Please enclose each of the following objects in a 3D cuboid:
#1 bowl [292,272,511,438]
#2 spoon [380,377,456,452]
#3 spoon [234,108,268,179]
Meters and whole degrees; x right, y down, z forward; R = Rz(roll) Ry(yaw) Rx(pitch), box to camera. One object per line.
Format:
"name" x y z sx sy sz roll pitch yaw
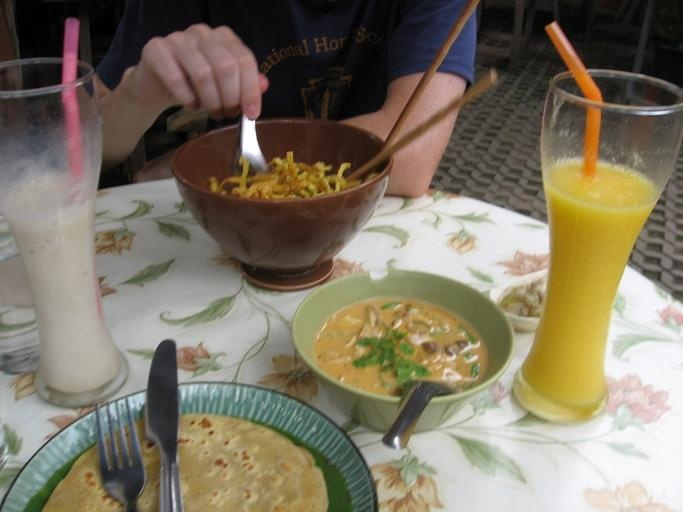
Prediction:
"bowl" 0.082 0.081 0.835 0.311 0.206 0.234 -1 15 -2
"spoon" 0.084 0.165 0.656 0.037 0.026 0.148 3 20 26
"spoon" -0.164 -0.210 1.046 0.034 0.106 0.047 0 18 -18
